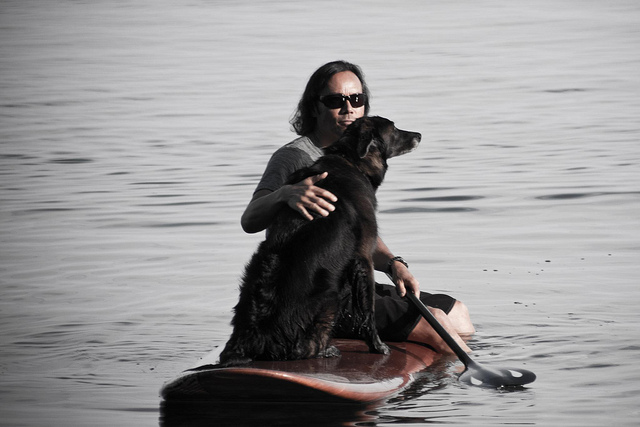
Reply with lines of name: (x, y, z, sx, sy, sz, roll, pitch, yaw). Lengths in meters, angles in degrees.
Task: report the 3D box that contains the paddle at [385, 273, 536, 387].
paddle: (1.488, 1.409, 11.416, 1.703, 0.063, 0.689, 33, 44, 30)
